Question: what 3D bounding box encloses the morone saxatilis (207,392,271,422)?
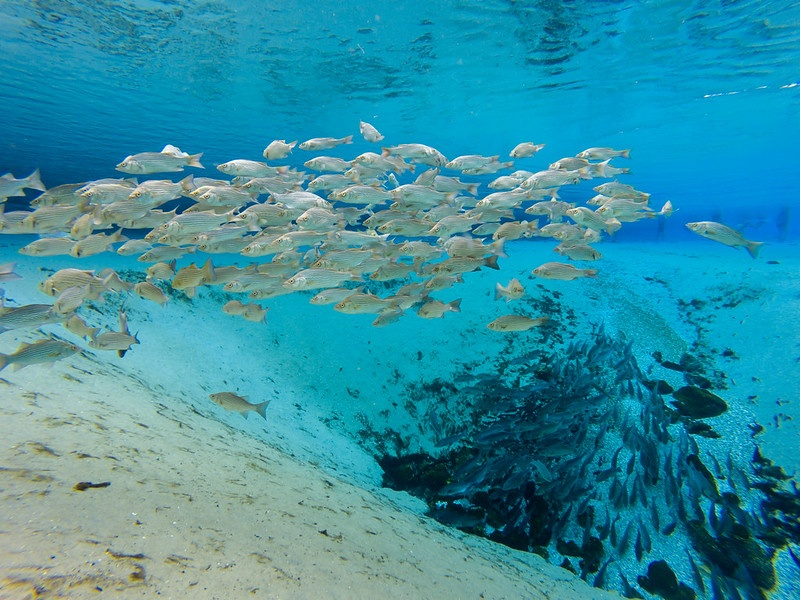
[{"bbox_3d":[-4.325,2.849,15.563,1.857,0.380,0.476,9,4,-7],"label":"morone saxatilis"}]
